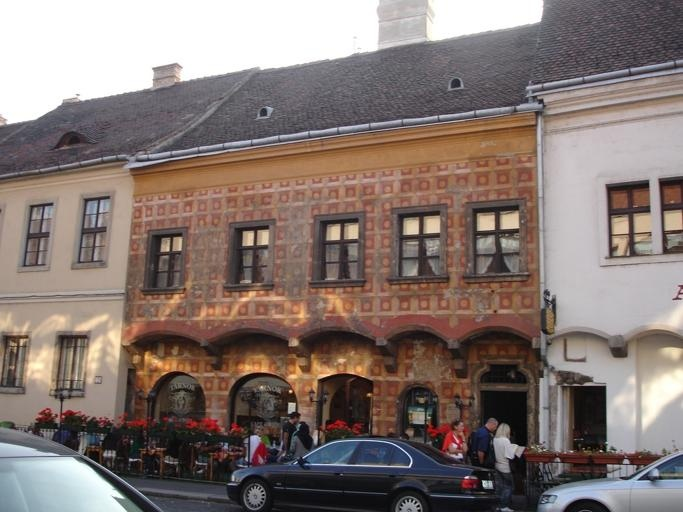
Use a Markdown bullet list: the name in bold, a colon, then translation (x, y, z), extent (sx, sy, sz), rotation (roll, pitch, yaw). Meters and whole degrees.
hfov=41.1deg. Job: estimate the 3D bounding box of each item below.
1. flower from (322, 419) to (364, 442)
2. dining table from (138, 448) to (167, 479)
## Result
- **flower**: translation (0.075, 5.110, 26.853), extent (1.587, 0.765, 1.374), rotation (2, -11, -2)
- **dining table**: translation (-5.445, 6.105, 26.683), extent (0.973, 0.711, 0.550), rotation (-3, -16, 11)
